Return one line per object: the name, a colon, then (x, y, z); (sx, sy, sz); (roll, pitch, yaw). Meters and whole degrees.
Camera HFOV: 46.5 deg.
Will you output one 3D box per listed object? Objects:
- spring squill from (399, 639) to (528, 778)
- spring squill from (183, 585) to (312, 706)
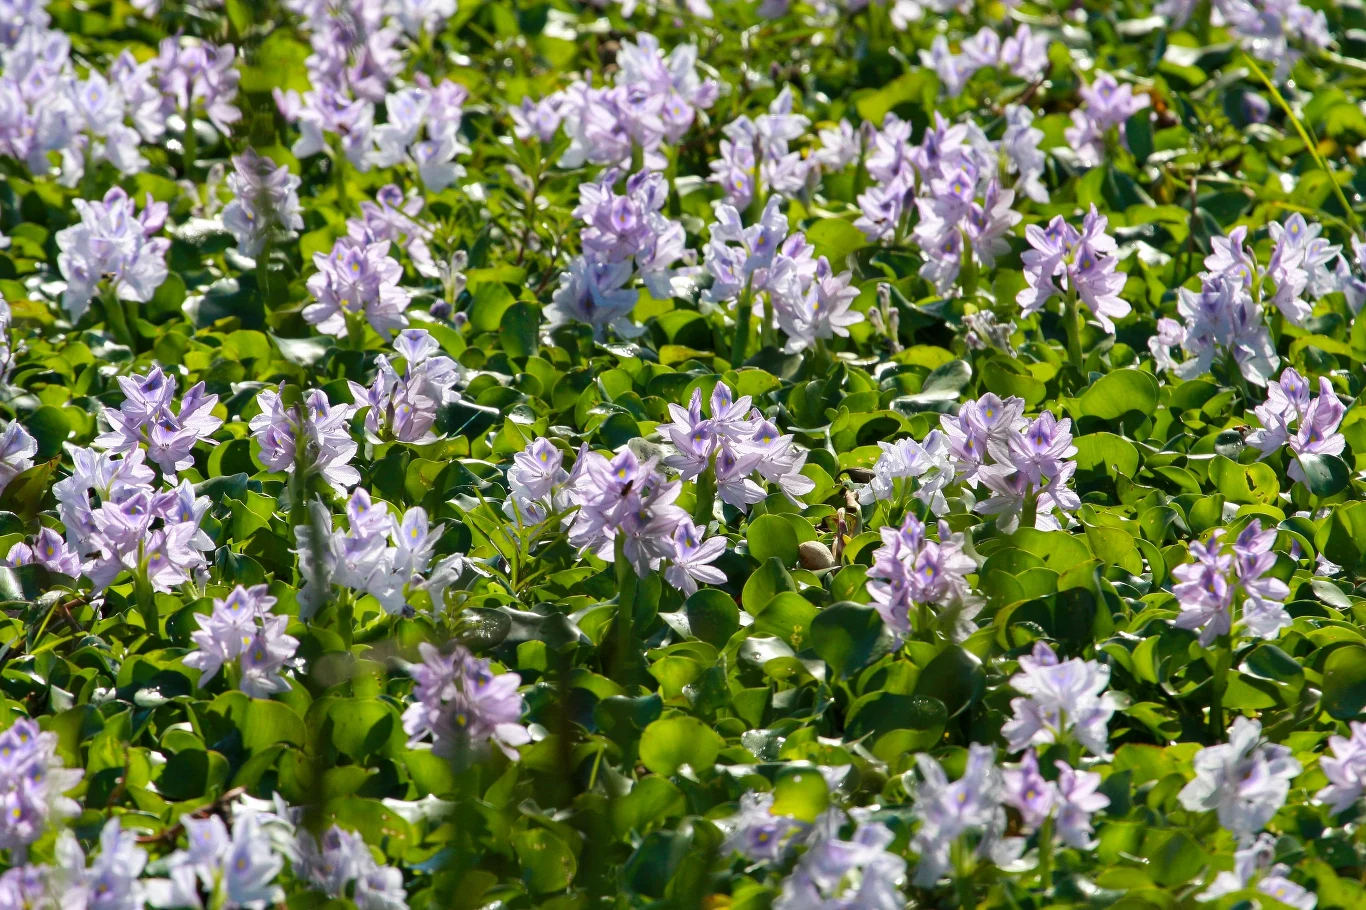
spring squill: (-0.427, 0.468, 3.041); (0.228, 0.245, 0.155); (-10, 60, -7)
spring squill: (-0.904, 0.384, 3.308); (0.228, 0.225, 0.145); (5, 25, 1)
